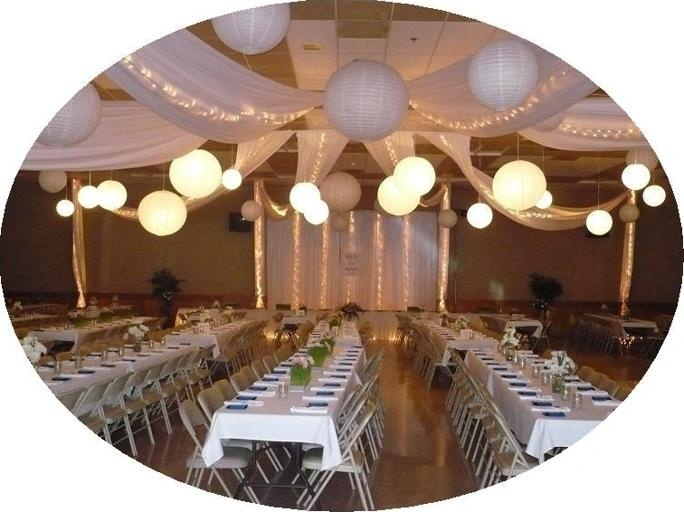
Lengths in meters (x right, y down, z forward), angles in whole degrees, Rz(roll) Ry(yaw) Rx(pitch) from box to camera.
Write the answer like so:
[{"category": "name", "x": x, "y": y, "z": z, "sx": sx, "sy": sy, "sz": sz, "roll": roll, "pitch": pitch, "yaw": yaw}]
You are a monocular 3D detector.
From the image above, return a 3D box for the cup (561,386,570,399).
[{"category": "cup", "x": 2.151, "y": 1.326, "z": 4.925, "sx": 0.092, "sy": 0.123, "sz": 0.070, "roll": 1, "pitch": -6, "yaw": 5}]

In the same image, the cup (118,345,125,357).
[{"category": "cup", "x": -3.020, "y": 1.326, "z": 7.059, "sx": 0.082, "sy": 0.105, "sz": 0.151, "roll": -1, "pitch": 0, "yaw": -5}]

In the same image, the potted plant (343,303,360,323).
[{"category": "potted plant", "x": 0.222, "y": 1.558, "z": 13.969, "sx": 0.413, "sy": 0.402, "sz": 0.443, "roll": -3, "pitch": -5, "yaw": 25}]

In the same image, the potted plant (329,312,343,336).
[{"category": "potted plant", "x": -0.116, "y": 1.373, "z": 10.073, "sx": 0.235, "sy": 0.441, "sz": 0.244, "roll": 0, "pitch": -5, "yaw": -3}]

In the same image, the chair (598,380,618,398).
[{"category": "chair", "x": 2.820, "y": 1.430, "z": 5.456, "sx": 0.188, "sy": 0.233, "sz": 0.160, "roll": 8, "pitch": -9, "yaw": -28}]

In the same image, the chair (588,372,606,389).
[{"category": "chair", "x": 2.833, "y": 1.412, "z": 5.741, "sx": 0.148, "sy": 0.196, "sz": 0.159, "roll": 2, "pitch": -4, "yaw": 13}]

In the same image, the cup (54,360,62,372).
[{"category": "cup", "x": -3.089, "y": 1.222, "z": 5.595, "sx": 0.054, "sy": 0.118, "sz": 0.132, "roll": 5, "pitch": -7, "yaw": -25}]

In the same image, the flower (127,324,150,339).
[{"category": "flower", "x": -2.924, "y": 1.088, "z": 7.391, "sx": 0.347, "sy": 0.187, "sz": 0.360, "roll": 2, "pitch": -6, "yaw": -17}]

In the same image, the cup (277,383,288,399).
[{"category": "cup", "x": -0.537, "y": 1.255, "z": 4.735, "sx": 0.111, "sy": 0.187, "sz": 0.122, "roll": -2, "pitch": -5, "yaw": 4}]

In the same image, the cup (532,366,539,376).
[{"category": "cup", "x": 2.243, "y": 1.355, "z": 5.949, "sx": 0.087, "sy": 0.102, "sz": 0.089, "roll": -2, "pitch": -1, "yaw": 0}]

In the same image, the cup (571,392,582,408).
[{"category": "cup", "x": 2.123, "y": 1.313, "z": 4.630, "sx": 0.071, "sy": 0.131, "sz": 0.063, "roll": 0, "pitch": -6, "yaw": 19}]
